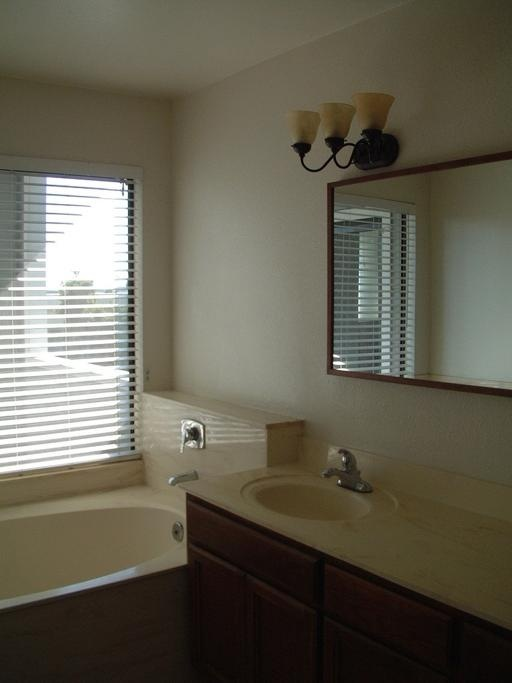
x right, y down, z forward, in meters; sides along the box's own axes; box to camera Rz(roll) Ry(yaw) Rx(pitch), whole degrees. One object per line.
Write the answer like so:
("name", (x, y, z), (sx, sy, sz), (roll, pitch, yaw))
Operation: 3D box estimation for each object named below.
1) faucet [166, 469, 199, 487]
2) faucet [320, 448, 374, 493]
("faucet", (-0.260, 0.487, 1.916), (0.100, 0.033, 0.058), (-6, 7, -41))
("faucet", (0.306, 0.427, 1.766), (0.095, 0.111, 0.180), (-6, -16, 39))
